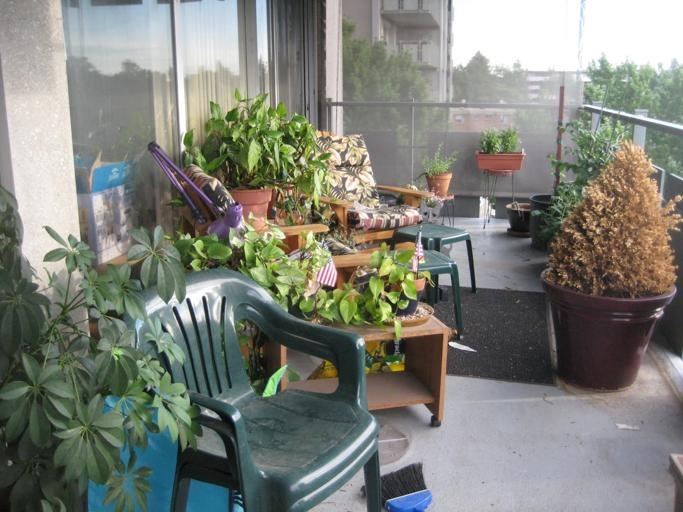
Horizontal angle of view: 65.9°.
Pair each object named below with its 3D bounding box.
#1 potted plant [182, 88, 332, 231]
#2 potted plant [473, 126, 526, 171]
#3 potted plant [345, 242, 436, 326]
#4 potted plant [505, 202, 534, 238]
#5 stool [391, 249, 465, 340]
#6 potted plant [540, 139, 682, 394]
[{"bbox_3d":[-0.416,-0.401,2.764,0.599,0.618,0.653,0,-2,-6],"label":"potted plant"},{"bbox_3d":[1.799,-1.164,5.875,0.486,0.490,0.518,6,16,20],"label":"potted plant"},{"bbox_3d":[0.180,0.104,2.242,0.307,0.237,0.317,-8,18,-31],"label":"potted plant"},{"bbox_3d":[1.834,-0.379,5.435,0.297,0.343,0.308,-1,8,-4],"label":"potted plant"},{"bbox_3d":[0.569,0.178,3.212,0.453,0.518,0.448,-10,15,-35],"label":"stool"},{"bbox_3d":[1.287,0.066,2.517,0.596,1.171,0.364,6,15,23],"label":"potted plant"}]
